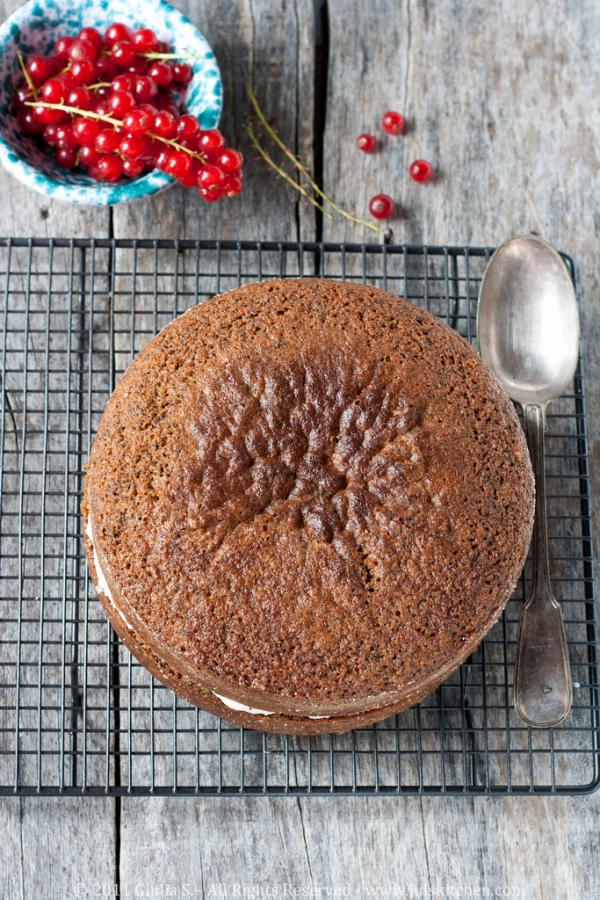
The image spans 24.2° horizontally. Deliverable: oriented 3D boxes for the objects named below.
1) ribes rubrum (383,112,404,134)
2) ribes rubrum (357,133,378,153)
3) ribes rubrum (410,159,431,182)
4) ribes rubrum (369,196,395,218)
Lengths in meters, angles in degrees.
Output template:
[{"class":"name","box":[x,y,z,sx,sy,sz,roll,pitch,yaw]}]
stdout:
[{"class":"ribes rubrum","box":[0.163,-0.546,2.354,0.027,0.018,0.039,8,100,-3]},{"class":"ribes rubrum","box":[0.117,-0.507,2.350,0.025,0.016,0.037,4,91,-6]},{"class":"ribes rubrum","box":[0.204,-0.465,2.351,0.027,0.017,0.040,0,93,4]},{"class":"ribes rubrum","box":[0.142,-0.407,2.338,0.030,0.020,0.043,4,99,2]}]
